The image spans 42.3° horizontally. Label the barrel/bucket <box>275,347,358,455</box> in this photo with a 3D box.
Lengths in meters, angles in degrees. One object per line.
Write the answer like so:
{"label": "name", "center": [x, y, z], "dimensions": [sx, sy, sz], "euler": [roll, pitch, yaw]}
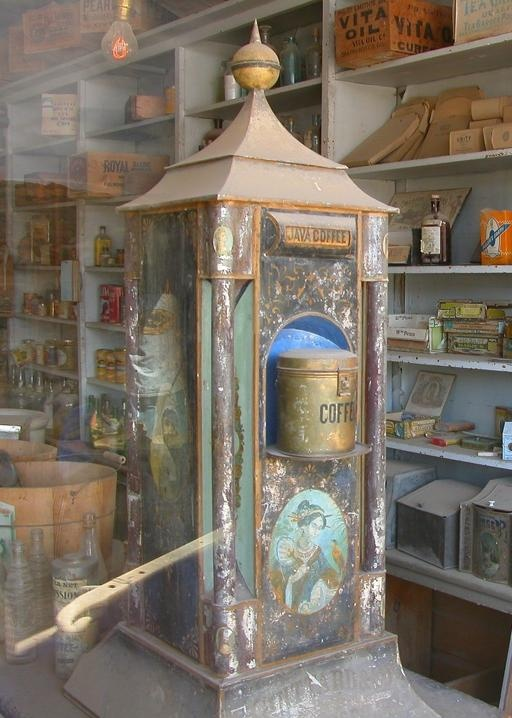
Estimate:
{"label": "barrel/bucket", "center": [0.082, 0.055, 0.999], "dimensions": [0.140, 0.152, 0.136], "euler": [0, 1, 0]}

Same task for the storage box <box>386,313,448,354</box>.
{"label": "storage box", "center": [0.541, -0.098, 2.285], "dimensions": [0.143, 0.095, 0.147], "euler": [-1, 5, -26]}

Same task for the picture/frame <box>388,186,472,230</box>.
{"label": "picture/frame", "center": [0.616, -0.521, 2.292], "dimensions": [0.037, 0.213, 0.364], "euler": [17, 2, -27]}

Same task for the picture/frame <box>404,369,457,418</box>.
{"label": "picture/frame", "center": [0.655, 0.129, 2.449], "dimensions": [0.019, 0.258, 0.189], "euler": [38, -22, -33]}
